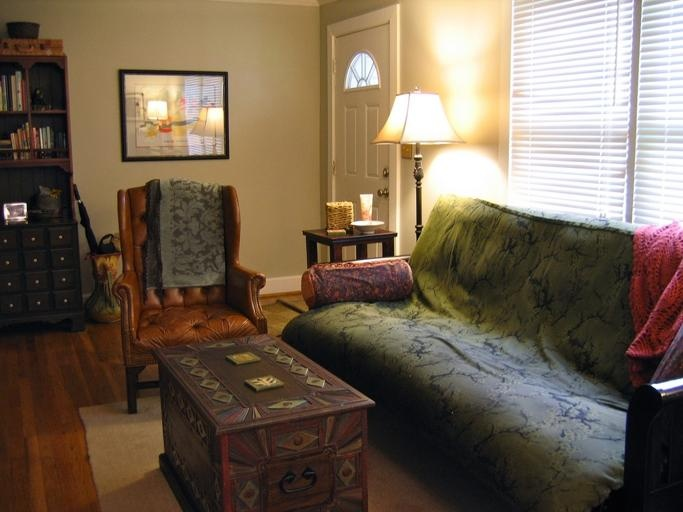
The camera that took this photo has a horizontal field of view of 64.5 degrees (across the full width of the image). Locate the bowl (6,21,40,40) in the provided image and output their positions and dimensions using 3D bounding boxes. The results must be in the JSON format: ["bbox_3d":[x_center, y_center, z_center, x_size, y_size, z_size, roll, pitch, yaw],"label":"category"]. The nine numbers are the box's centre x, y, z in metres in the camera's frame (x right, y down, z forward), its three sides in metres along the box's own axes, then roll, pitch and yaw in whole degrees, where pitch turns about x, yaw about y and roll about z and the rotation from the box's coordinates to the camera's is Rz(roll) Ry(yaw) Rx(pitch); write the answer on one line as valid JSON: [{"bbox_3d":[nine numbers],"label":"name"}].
[{"bbox_3d":[-2.523,-1.777,4.263,0.195,0.102,0.196,1,3,0],"label":"bowl"}]

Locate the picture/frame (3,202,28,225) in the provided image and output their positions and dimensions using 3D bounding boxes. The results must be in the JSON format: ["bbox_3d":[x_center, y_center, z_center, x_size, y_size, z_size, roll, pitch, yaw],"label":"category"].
[{"bbox_3d":[-2.638,-0.325,4.404,0.203,0.199,0.189,-3,2,-34],"label":"picture/frame"}]

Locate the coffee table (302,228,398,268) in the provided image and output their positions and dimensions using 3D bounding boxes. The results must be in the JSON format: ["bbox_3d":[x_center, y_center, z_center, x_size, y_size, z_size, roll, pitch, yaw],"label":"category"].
[{"bbox_3d":[0.031,-0.116,4.136,0.419,0.417,0.419,-5,10,-28],"label":"coffee table"}]

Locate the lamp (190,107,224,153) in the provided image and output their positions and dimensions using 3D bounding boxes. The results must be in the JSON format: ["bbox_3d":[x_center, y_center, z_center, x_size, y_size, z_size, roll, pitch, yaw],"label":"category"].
[{"bbox_3d":[-1.213,-1.158,5.178,0.328,0.455,0.295,-2,18,-17],"label":"lamp"}]

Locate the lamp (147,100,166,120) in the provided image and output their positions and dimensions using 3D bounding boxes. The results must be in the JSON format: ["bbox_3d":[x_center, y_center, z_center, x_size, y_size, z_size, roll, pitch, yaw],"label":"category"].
[{"bbox_3d":[-1.690,-1.338,4.946,0.168,0.126,0.168,11,21,30],"label":"lamp"}]

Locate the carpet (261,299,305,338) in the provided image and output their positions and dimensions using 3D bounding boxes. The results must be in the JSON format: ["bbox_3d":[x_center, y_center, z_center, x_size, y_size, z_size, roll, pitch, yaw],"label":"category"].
[{"bbox_3d":[-0.533,0.518,4.948,0.285,0.103,0.433,-6,14,-28],"label":"carpet"}]
